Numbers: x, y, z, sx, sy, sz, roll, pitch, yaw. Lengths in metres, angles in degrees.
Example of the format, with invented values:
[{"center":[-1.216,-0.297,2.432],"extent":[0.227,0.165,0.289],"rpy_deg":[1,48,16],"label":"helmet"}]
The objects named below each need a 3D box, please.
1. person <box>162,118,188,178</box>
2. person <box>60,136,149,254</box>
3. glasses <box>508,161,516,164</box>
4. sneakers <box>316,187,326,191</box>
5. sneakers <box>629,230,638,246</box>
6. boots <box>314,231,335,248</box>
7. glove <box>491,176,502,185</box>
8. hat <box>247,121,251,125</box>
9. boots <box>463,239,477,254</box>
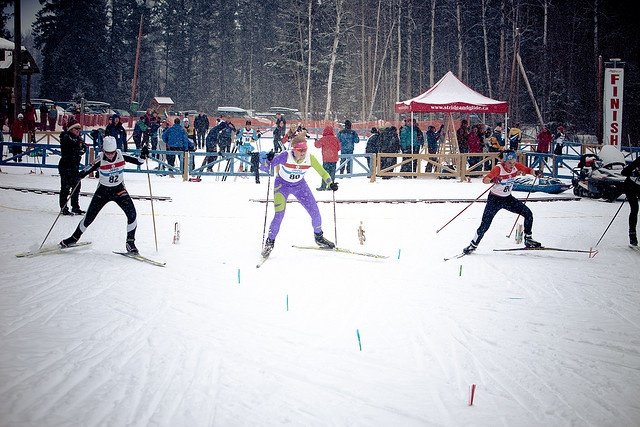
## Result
[{"center":[-5.727,-2.632,20.628],"extent":[0.900,2.278,1.367],"rpy_deg":[-2,10,-27],"label":"person"},{"center":[-4.353,-0.403,10.625],"extent":[1.428,2.295,0.574],"rpy_deg":[4,8,4],"label":"person"},{"center":[4.139,-1.100,11.121],"extent":[0.191,0.095,0.079],"rpy_deg":[-3,11,-33],"label":"glasses"},{"center":[0.045,-0.877,18.506],"extent":[0.328,0.141,0.126],"rpy_deg":[3,9,4],"label":"sneakers"},{"center":[7.079,0.572,11.649],"extent":[0.186,0.348,0.238],"rpy_deg":[5,9,14],"label":"sneakers"},{"center":[0.084,0.536,11.216],"extent":[0.586,0.445,0.206],"rpy_deg":[1,24,8],"label":"boots"},{"center":[3.808,-0.700,11.099],"extent":[0.117,0.064,0.171],"rpy_deg":[12,-34,2],"label":"glove"},{"center":[-2.928,-3.712,21.247],"extent":[0.137,0.108,0.138],"rpy_deg":[4,-4,-38],"label":"hat"},{"center":[3.270,0.755,11.220],"extent":[0.359,0.235,0.164],"rpy_deg":[-32,-18,3],"label":"boots"}]
